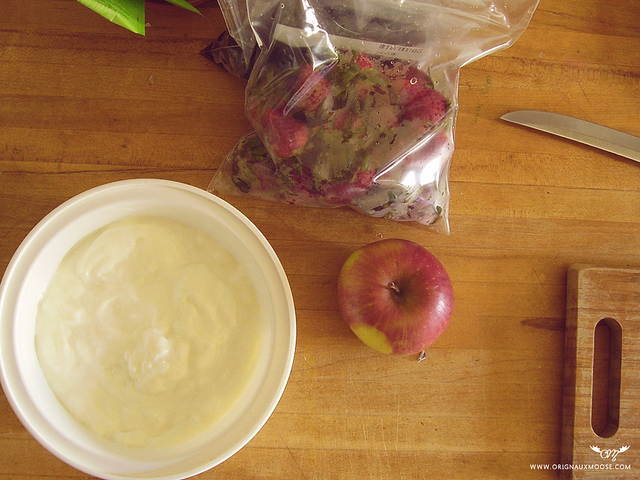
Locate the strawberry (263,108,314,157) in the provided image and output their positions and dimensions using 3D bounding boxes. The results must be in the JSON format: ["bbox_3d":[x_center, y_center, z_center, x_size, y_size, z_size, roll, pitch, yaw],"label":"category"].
[{"bbox_3d":[-0.059,-0.189,1.247,0.072,0.032,0.094,-37,84,18],"label":"strawberry"}]

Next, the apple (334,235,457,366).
[{"bbox_3d":[0.149,0.115,1.360,0.200,0.203,0.235,-4,89,-1],"label":"apple"}]
